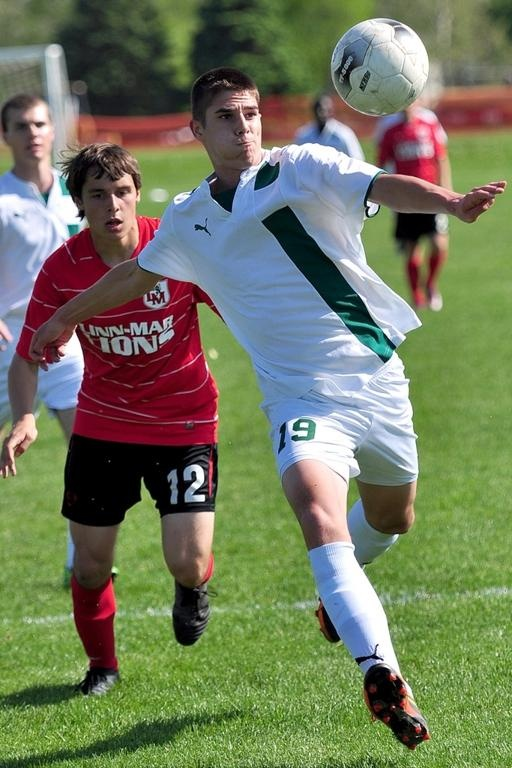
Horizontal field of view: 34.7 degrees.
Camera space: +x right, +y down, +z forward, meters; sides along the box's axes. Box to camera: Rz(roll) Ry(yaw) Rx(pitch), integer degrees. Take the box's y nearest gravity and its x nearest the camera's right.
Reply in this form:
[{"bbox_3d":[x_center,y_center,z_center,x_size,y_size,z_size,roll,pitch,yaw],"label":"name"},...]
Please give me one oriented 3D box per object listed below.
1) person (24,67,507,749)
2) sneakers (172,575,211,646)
[{"bbox_3d":[0.135,-0.011,2.340,0.859,1.695,1.323,-18,26,-37],"label":"person"},{"bbox_3d":[-0.221,0.772,2.804,0.099,0.250,0.190,-1,5,0],"label":"sneakers"}]
